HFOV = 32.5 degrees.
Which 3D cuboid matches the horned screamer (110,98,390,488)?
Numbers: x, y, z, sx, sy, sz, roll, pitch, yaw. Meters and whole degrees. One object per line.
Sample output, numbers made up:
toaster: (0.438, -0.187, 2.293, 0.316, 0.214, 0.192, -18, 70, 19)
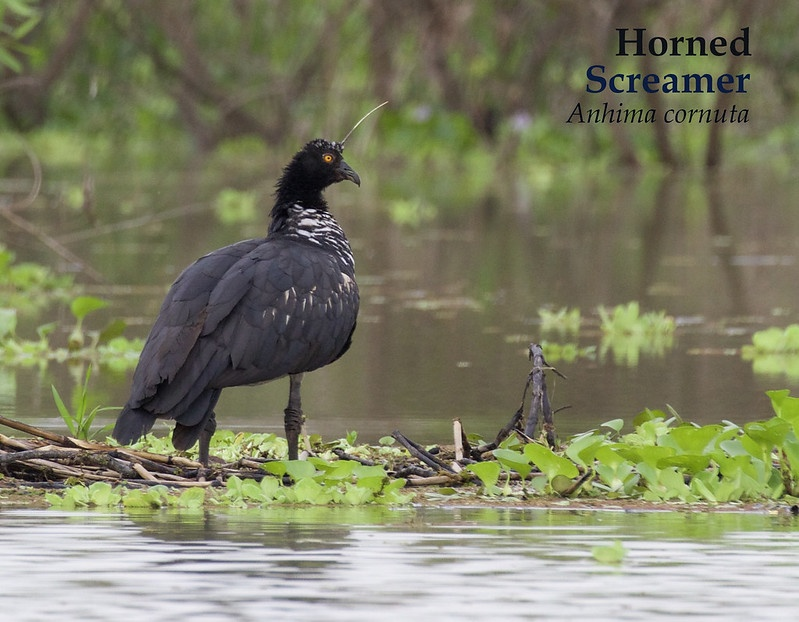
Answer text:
horned screamer: (-0.681, -0.156, 6.538, 0.744, 1.670, 1.079, -4, -13, 24)
